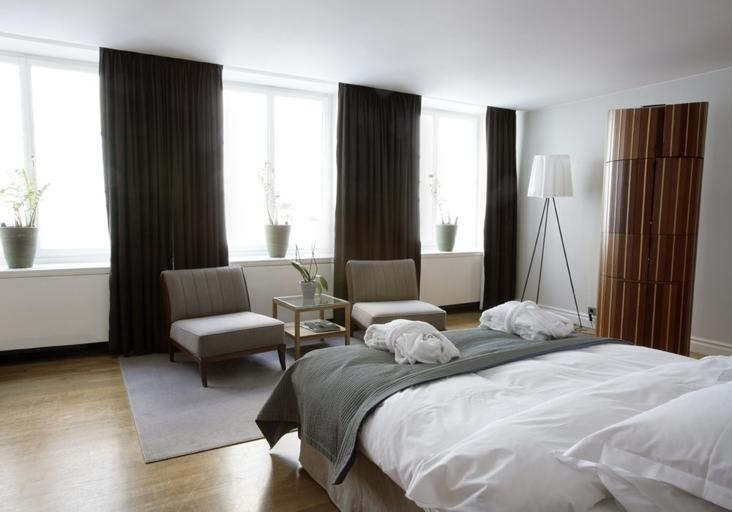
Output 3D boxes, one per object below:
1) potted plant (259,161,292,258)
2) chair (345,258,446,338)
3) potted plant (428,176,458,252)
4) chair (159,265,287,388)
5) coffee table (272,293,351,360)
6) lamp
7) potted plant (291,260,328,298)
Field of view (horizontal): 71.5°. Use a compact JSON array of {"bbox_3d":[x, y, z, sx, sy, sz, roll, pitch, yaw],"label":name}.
[{"bbox_3d":[-1.071,-0.563,5.940,0.376,1.095,0.408,-1,14,-10],"label":"potted plant"},{"bbox_3d":[0.304,0.461,5.512,0.954,0.766,0.957,-2,6,-30],"label":"chair"},{"bbox_3d":[1.052,-0.614,7.009,0.442,1.047,0.463,2,14,2],"label":"potted plant"},{"bbox_3d":[-1.391,0.577,4.848,0.882,0.916,1.118,-4,5,-44],"label":"chair"},{"bbox_3d":[-0.544,0.594,5.148,0.628,0.542,0.664,-3,11,-27],"label":"coffee table"},{"bbox_3d":[2.421,-0.245,6.517,0.771,2.100,0.872,6,14,17],"label":"lamp"},{"bbox_3d":[-0.579,0.236,5.351,0.353,0.396,0.348,-5,-3,-8],"label":"potted plant"}]
